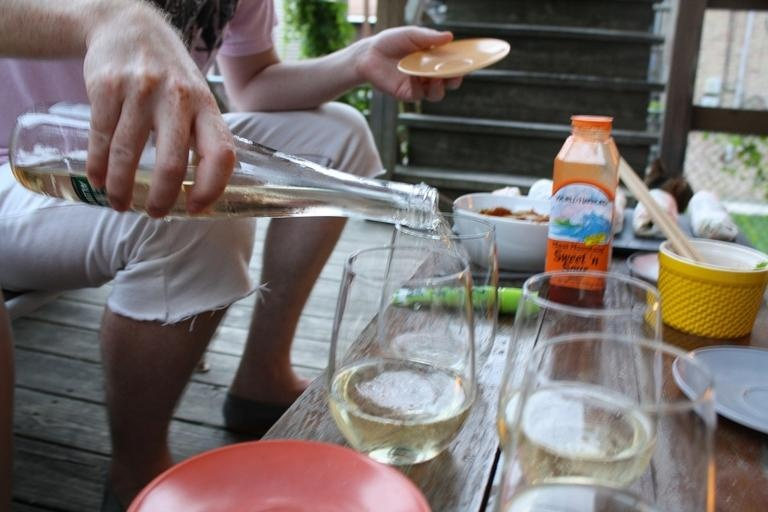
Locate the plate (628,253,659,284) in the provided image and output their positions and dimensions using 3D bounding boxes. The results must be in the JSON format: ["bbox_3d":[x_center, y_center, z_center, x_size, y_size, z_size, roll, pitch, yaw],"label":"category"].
[{"bbox_3d":[0.495,0.032,1.140,0.057,0.019,0.057,-4,23,-5],"label":"plate"}]

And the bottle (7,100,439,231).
[{"bbox_3d":[-0.249,-0.109,0.880,0.670,0.172,0.194,4,27,3],"label":"bottle"}]

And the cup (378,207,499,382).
[{"bbox_3d":[0.072,0.024,0.807,0.126,0.240,0.128,1,13,0],"label":"cup"}]

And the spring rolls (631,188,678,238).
[{"bbox_3d":[0.548,-0.083,1.217,0.079,0.128,0.107,6,15,29],"label":"spring rolls"}]
